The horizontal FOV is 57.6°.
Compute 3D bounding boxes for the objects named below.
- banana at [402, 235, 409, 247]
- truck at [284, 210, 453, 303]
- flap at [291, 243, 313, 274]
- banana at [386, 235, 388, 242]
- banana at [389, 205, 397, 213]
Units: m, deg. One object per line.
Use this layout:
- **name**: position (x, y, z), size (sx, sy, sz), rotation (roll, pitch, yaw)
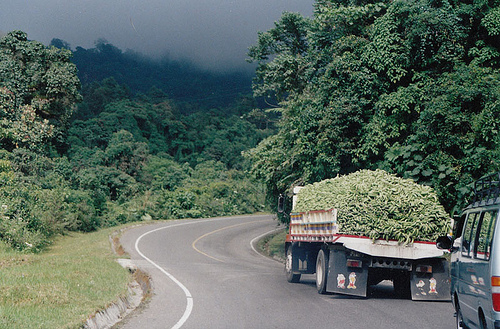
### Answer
- **banana**: position (5.787, 2.886, 17.036), size (0.080, 0.512, 0.136), rotation (29, -1, 42)
- **truck**: position (4.023, 3.602, 19.099), size (3.261, 2.378, 5.139), rotation (6, -6, -16)
- **flap**: position (2.369, 4.354, 21.137), size (1.081, 1.353, 0.301), rotation (-1, -2, 29)
- **banana**: position (5.089, 2.758, 17.108), size (0.066, 0.242, 0.043), rotation (0, -2, -3)
- **banana**: position (5.334, 1.675, 17.196), size (0.293, 0.258, 0.069), rotation (1, -2, -8)
